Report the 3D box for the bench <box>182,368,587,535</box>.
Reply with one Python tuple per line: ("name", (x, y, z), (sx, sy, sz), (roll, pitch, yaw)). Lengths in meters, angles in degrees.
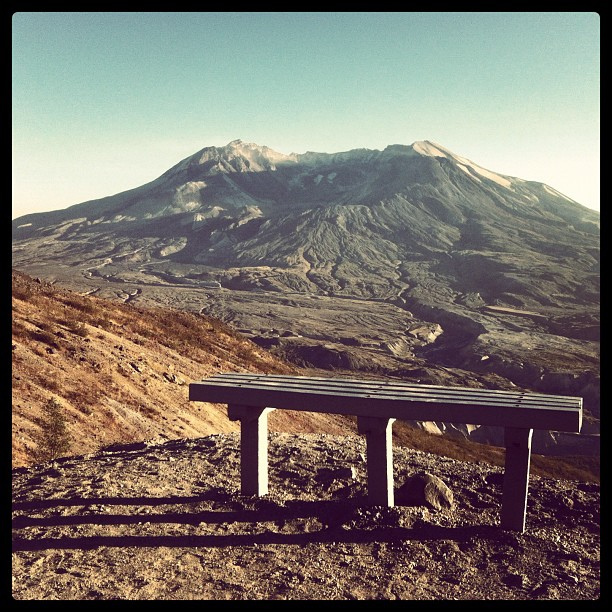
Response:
("bench", (0.921, 1.869, 8.968), (4.715, 1.464, 1.078), (3, -3, 13))
